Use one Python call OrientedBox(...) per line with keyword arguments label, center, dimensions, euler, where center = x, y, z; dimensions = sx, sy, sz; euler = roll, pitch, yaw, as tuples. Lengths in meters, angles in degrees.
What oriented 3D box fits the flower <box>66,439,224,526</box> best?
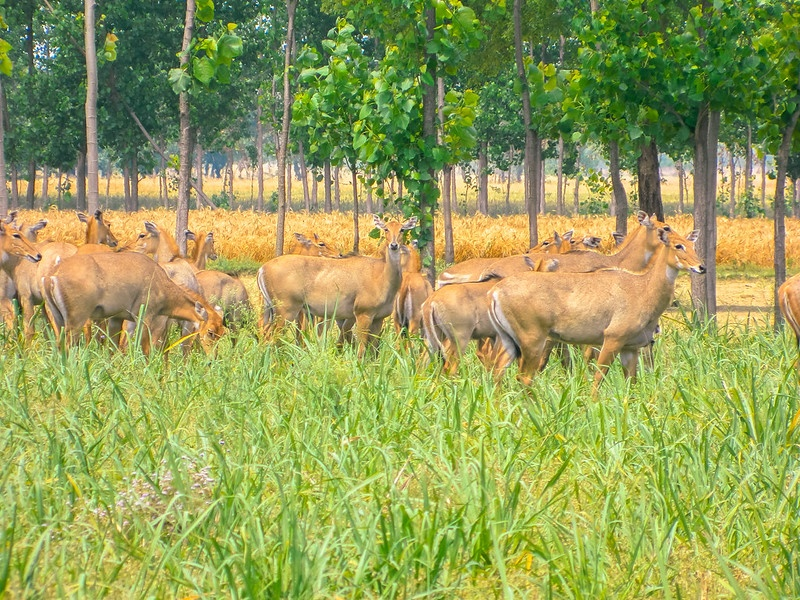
OrientedBox(label="flower", center=(-2.025, 1.584, 9.403), dimensions=(0.987, 0.686, 0.874), euler=(-2, 4, -10))
